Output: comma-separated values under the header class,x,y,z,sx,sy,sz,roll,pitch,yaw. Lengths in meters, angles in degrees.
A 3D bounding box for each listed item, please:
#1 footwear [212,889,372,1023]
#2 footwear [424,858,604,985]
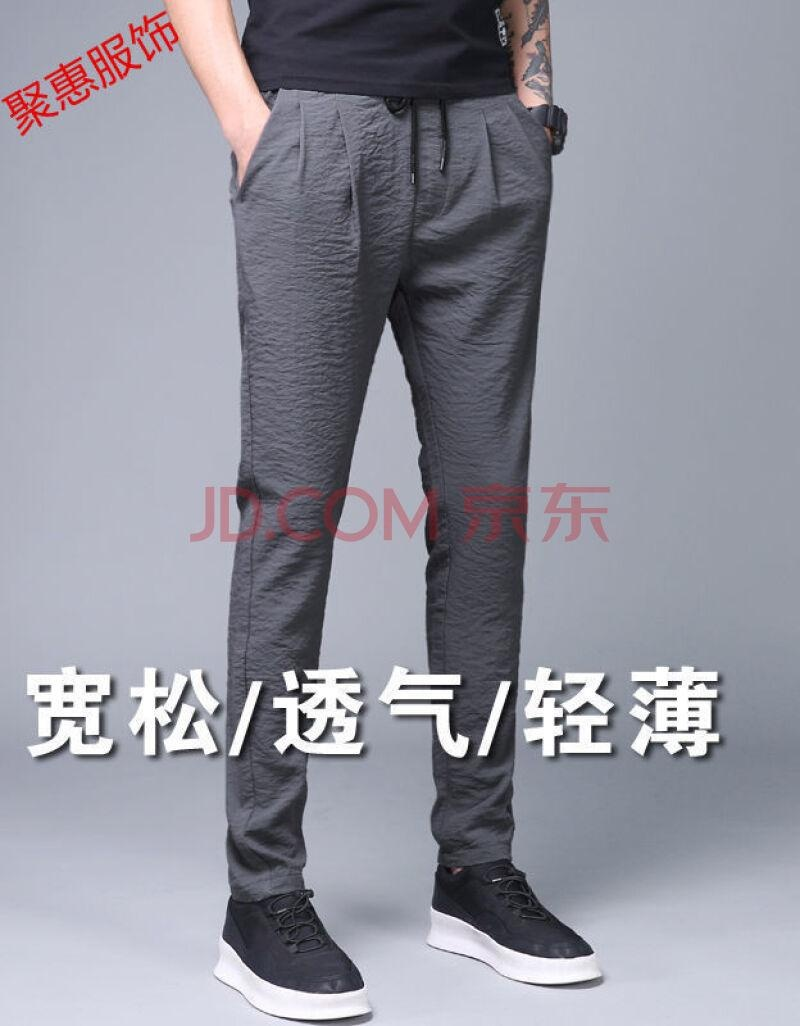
class,x,y,z,sx,sy,sz,roll,pitch,yaw
footwear,-0.109,0.418,0.985,0.078,0.091,0.187,-1,2,-34
footwear,0.106,0.416,1.064,0.078,0.082,0.202,9,-10,-39
